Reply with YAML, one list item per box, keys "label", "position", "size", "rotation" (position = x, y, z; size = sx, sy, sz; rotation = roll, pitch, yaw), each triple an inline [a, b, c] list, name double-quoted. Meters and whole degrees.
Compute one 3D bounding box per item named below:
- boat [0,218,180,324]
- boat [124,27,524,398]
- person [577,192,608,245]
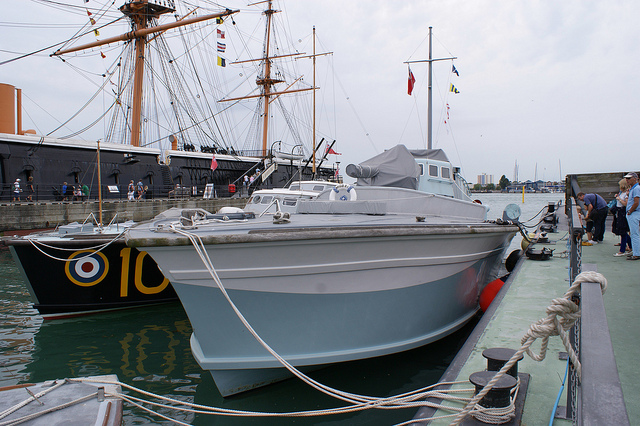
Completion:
- label: "boat"
  position: [-4.021, 1.232, 10.790]
  size: [4.572, 1.694, 2.098]
  rotation: [4, -2, -40]
- label: "boat"
  position: [1.002, 0.621, 10.018]
  size: [4.410, 4.839, 9.728]
  rotation: [-1, 0, 42]
- label: "person"
  position: [6.282, 0.064, 11.513]
  size: [0.457, 1.260, 0.760]
  rotation: [-5, 2, -39]
